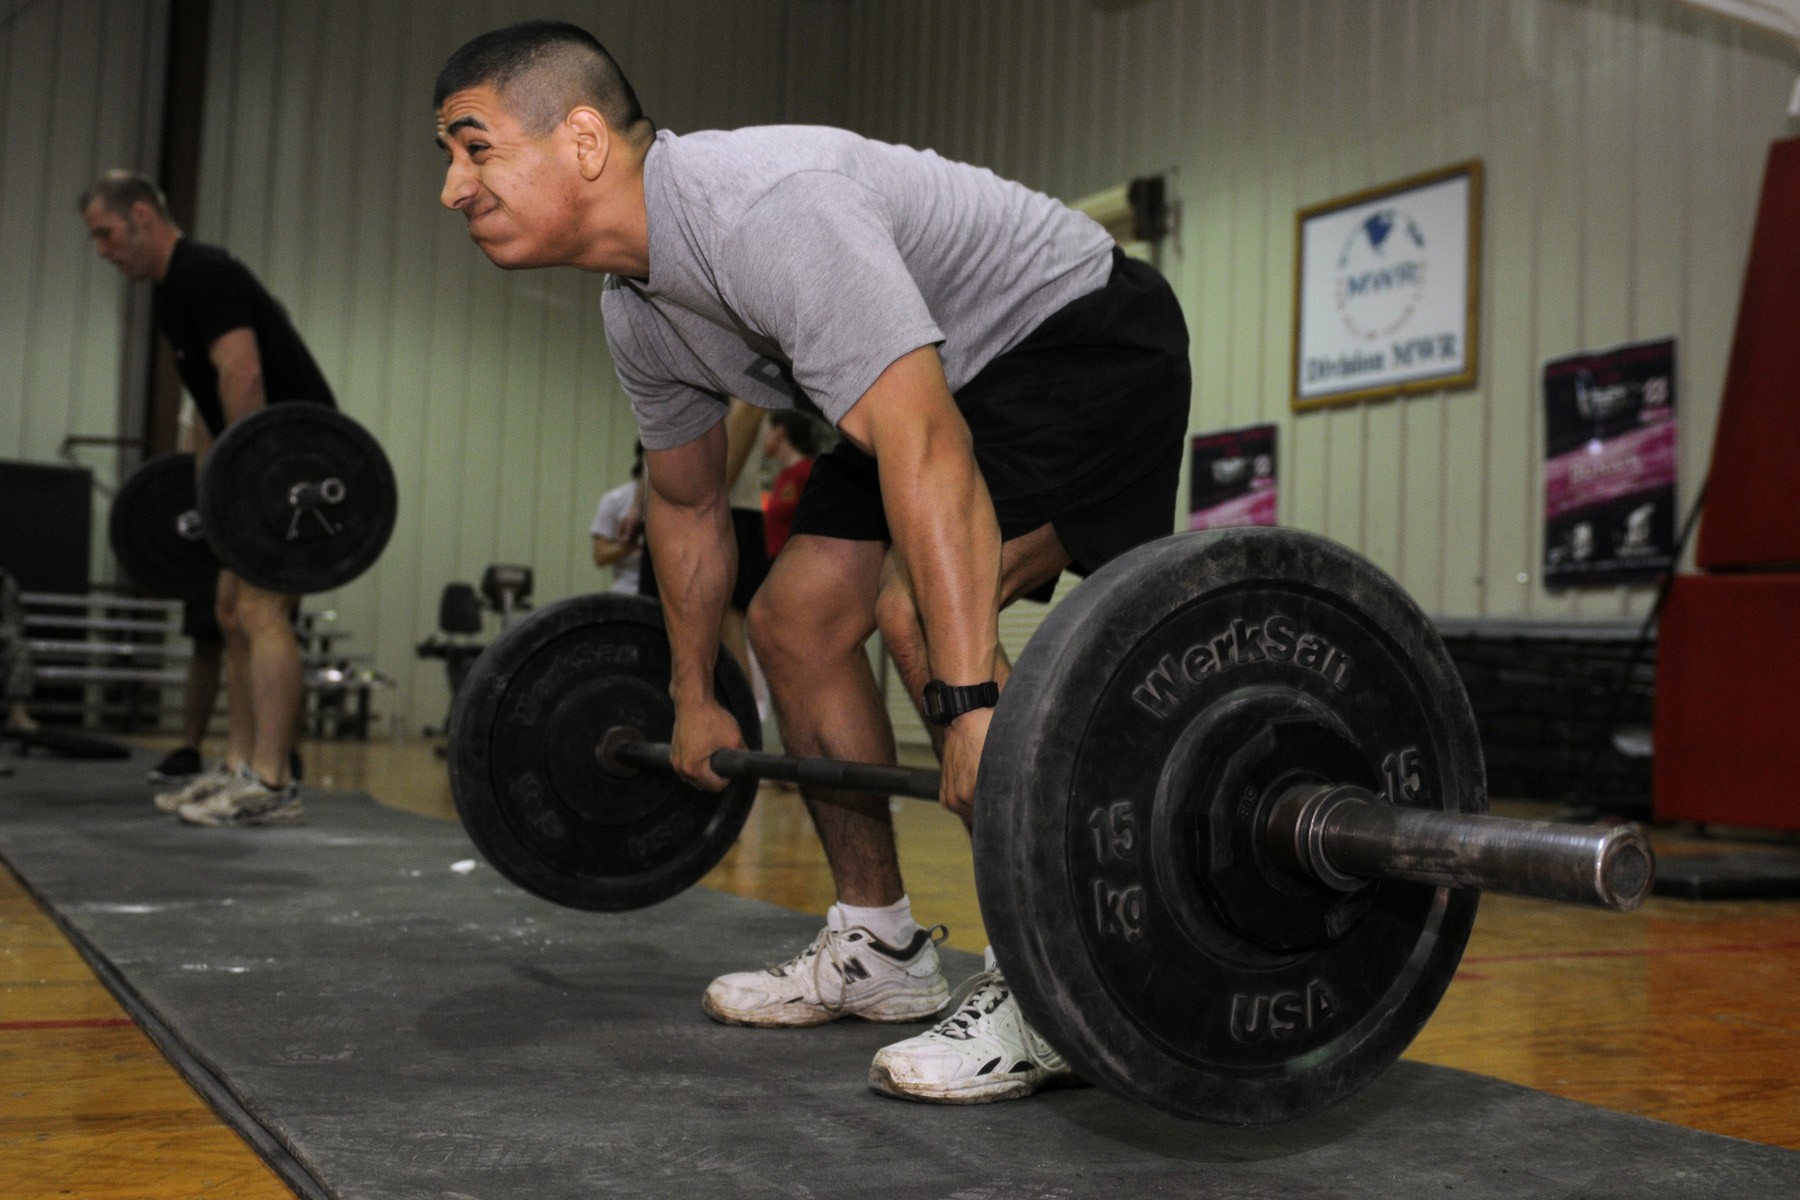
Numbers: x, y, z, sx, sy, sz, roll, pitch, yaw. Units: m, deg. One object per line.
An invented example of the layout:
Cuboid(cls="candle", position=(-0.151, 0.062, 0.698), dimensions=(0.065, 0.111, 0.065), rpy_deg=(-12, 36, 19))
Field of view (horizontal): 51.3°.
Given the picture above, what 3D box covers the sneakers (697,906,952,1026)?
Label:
Cuboid(cls="sneakers", position=(-0.138, 0.692, 3.604), dimensions=(0.452, 0.283, 0.198), rpy_deg=(2, -6, -9))
